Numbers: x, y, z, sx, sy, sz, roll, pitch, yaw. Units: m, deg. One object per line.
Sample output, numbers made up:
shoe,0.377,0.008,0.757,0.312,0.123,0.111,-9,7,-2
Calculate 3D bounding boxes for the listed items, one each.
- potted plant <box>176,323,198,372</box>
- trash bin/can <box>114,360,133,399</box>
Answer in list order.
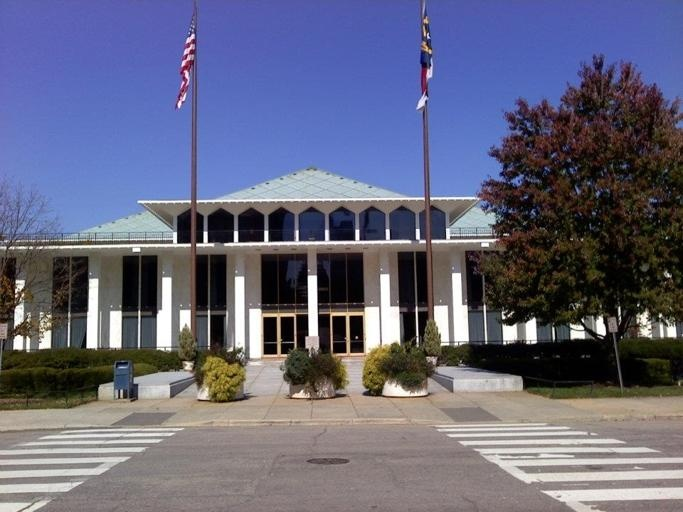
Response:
potted plant,-8.529,5.009,35.594,0.983,2.668,3.111,0,-12,-17
trash bin/can,-8.410,4.730,24.695,0.666,1.410,0.933,1,-11,-20
